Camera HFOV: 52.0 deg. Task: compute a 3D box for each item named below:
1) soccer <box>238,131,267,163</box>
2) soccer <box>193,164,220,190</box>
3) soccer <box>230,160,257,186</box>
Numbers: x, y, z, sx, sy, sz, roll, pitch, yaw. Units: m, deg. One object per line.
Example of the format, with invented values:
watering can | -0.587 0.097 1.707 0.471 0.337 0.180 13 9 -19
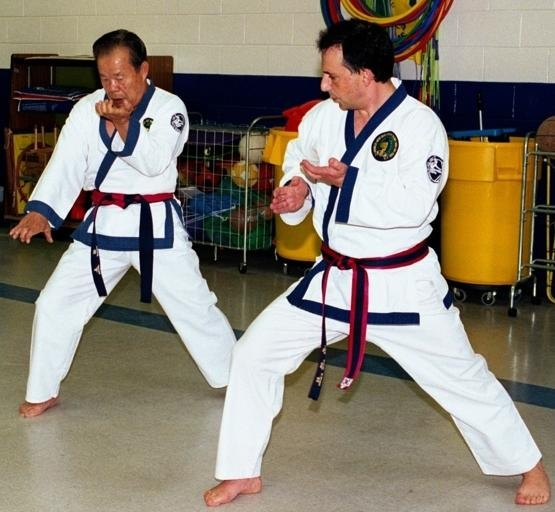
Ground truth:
soccer | -0.190 -0.891 4.638 0.259 0.271 0.245 -2 13 -18
soccer | -0.571 -0.659 4.752 0.113 0.129 0.298 1 -13 -8
soccer | -0.261 -0.672 4.631 0.224 0.213 0.209 -1 8 4
